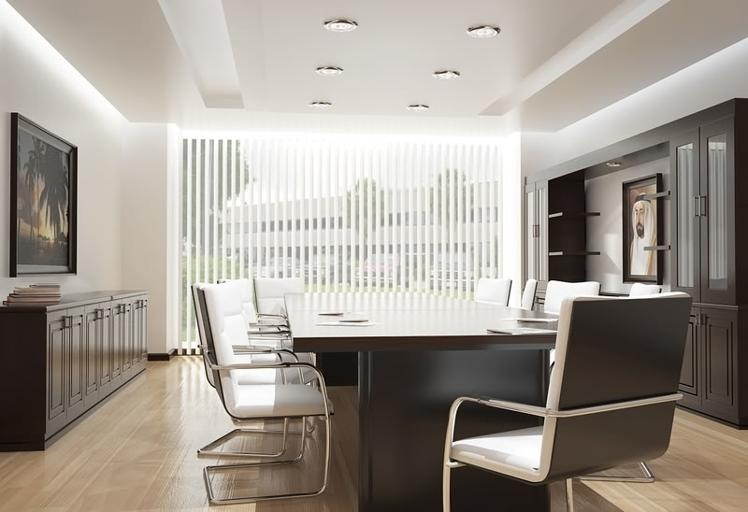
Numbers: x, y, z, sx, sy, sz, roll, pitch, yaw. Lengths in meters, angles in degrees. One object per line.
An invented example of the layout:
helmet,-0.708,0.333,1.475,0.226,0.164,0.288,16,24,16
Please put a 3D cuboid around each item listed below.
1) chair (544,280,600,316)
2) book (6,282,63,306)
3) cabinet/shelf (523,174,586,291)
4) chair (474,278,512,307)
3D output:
chair,1.308,0.272,3.499,0.323,0.389,0.329,-3,-10,22
book,-2.792,0.316,4.329,0.369,0.144,0.442,-1,3,-14
cabinet/shelf,2.484,-0.391,7.274,0.847,1.467,0.660,1,3,24
chair,1.326,0.373,5.576,0.336,0.397,0.308,7,-8,-34
